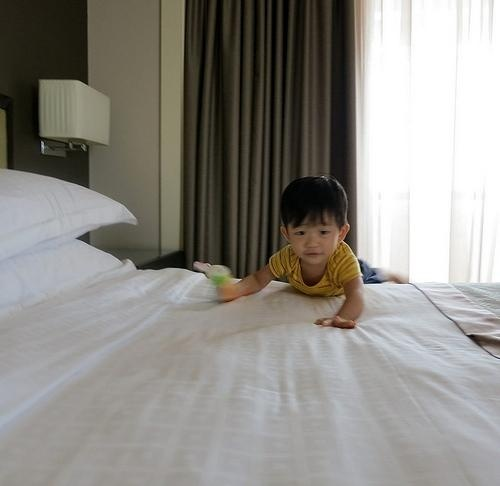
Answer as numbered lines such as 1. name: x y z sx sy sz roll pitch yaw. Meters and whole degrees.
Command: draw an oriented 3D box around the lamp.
1. lamp: -0.874 -0.602 1.975 0.214 0.354 0.432 0 5 -2
